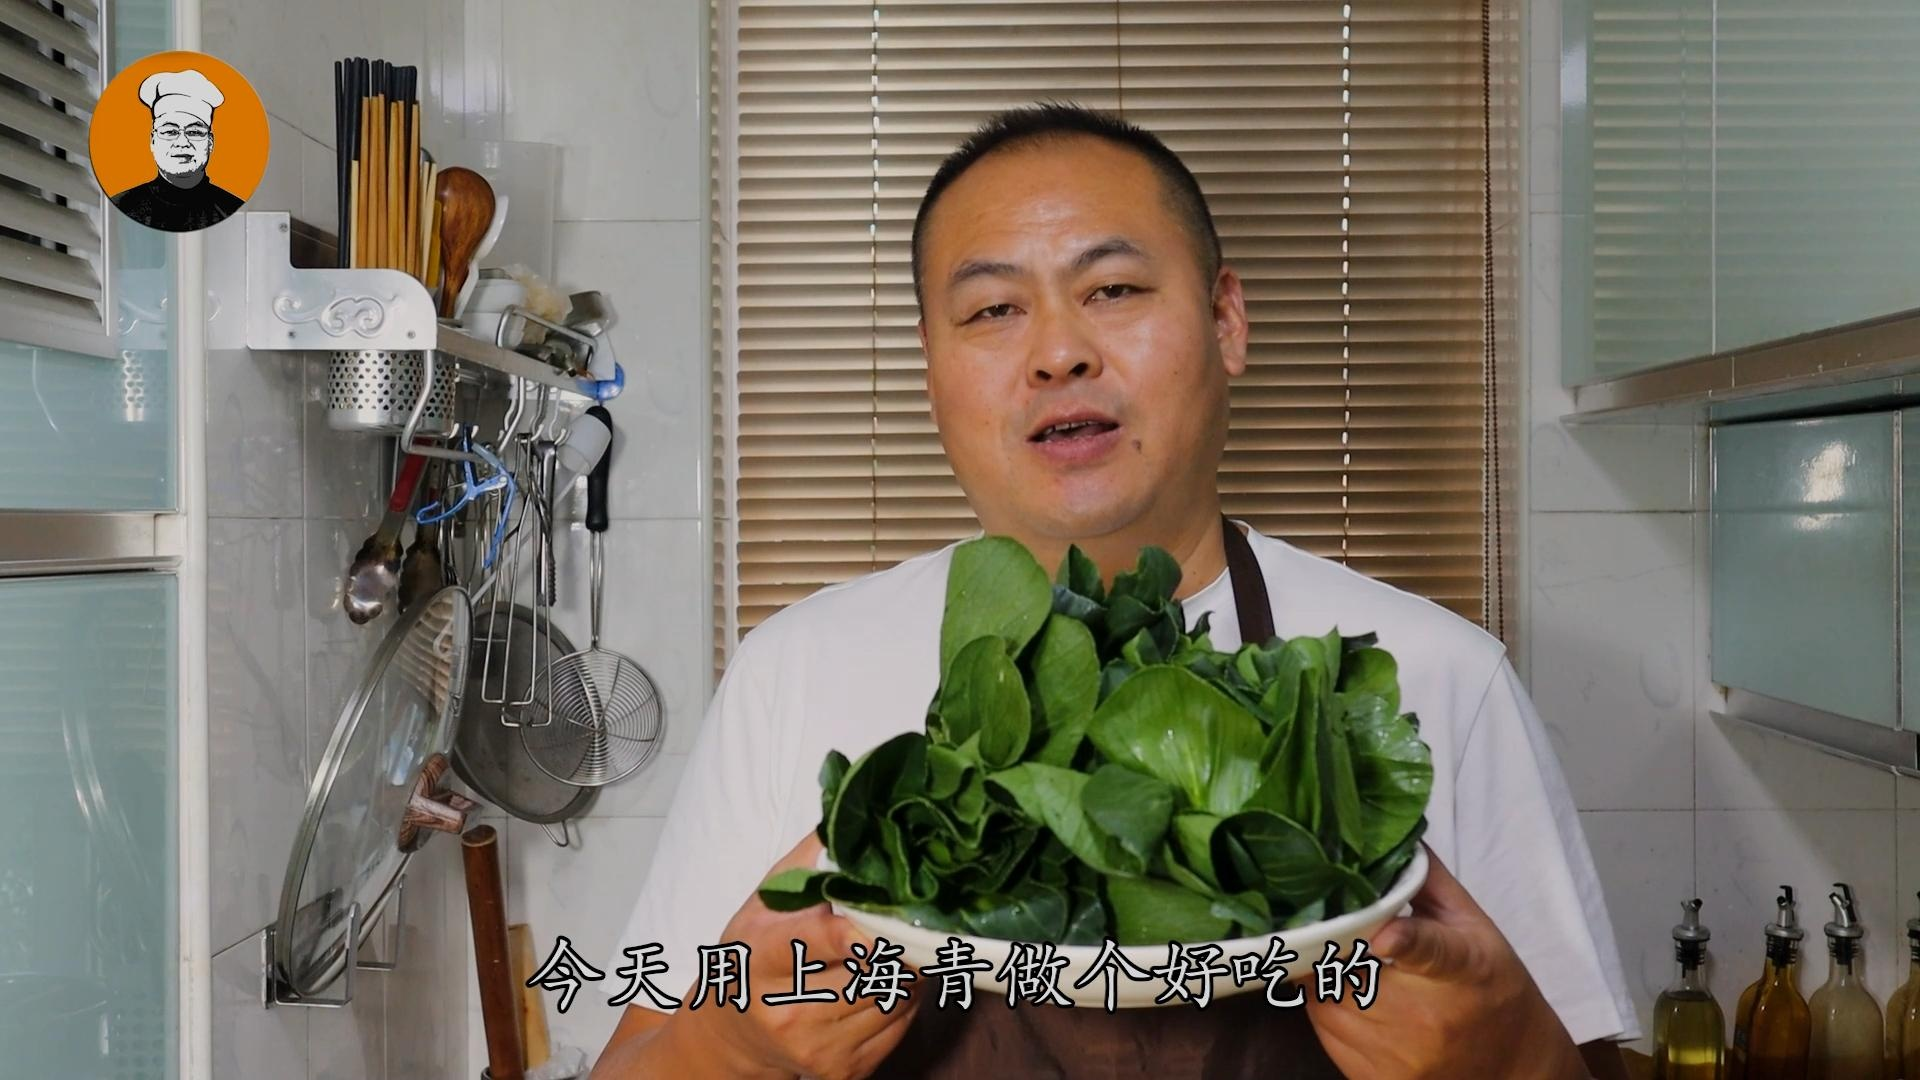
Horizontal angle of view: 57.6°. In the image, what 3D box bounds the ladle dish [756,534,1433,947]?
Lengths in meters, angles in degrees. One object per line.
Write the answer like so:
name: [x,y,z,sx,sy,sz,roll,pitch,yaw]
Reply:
ladle dish: [0.159,0.111,1.787,0.483,0.215,0.487,-8,2,-31]
